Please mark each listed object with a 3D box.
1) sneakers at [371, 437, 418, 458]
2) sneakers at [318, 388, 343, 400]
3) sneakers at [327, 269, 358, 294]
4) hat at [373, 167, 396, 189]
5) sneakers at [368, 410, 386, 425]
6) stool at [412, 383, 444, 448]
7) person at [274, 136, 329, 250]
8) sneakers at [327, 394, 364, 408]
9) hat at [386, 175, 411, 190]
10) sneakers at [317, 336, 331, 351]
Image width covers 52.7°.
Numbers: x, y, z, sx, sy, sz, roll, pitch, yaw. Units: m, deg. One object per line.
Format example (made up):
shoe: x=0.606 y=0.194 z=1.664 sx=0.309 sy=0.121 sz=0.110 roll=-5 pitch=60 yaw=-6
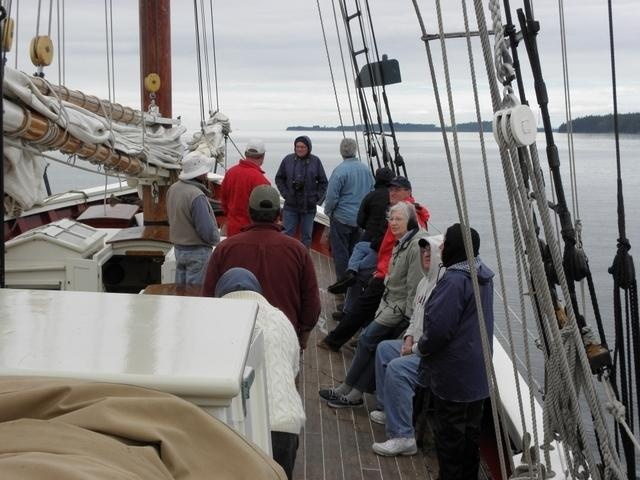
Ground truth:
sneakers: x=0.478 y=1.292 z=4.096 sx=0.284 sy=0.165 sz=0.110 roll=4 pitch=2 yaw=-4
sneakers: x=0.085 y=1.102 z=4.671 sx=0.189 sy=0.089 sz=0.076 roll=3 pitch=5 yaw=4
sneakers: x=0.221 y=0.400 z=6.097 sx=0.246 sy=0.094 sz=0.174 roll=-35 pitch=20 yaw=12
hat: x=0.590 y=-0.554 z=5.926 sx=0.137 sy=0.213 sz=0.215 roll=0 pitch=-21 yaw=15
sneakers: x=0.395 y=1.205 z=4.456 sx=0.095 sy=0.075 sz=0.140 roll=8 pitch=12 yaw=0
stool: x=0.711 y=1.157 z=4.366 sx=0.177 sy=0.424 sz=0.490 roll=8 pitch=11 yaw=10
person: x=-0.225 y=-0.437 z=7.370 sx=0.552 sy=1.521 sz=0.411 roll=4 pitch=20 yaw=2
sneakers: x=0.183 y=1.139 z=4.635 sx=0.236 sy=0.103 sz=0.094 roll=5 pitch=-7 yaw=-4
hat: x=0.695 y=-0.491 z=5.525 sx=0.148 sy=0.096 sz=0.111 roll=15 pitch=-11 yaw=-29
sneakers: x=0.029 y=0.891 z=5.561 sx=0.060 sy=0.085 sz=0.183 roll=-2 pitch=16 yaw=-24
